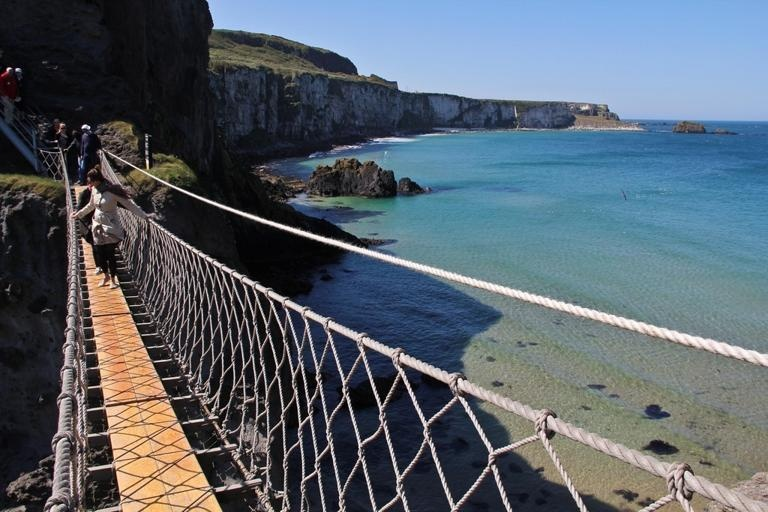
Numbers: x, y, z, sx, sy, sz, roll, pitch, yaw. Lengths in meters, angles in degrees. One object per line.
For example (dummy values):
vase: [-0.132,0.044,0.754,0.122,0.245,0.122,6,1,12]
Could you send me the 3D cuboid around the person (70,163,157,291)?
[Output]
person: [-3.993,-0.389,7.728,0.859,1.692,0.676,22,28,39]
